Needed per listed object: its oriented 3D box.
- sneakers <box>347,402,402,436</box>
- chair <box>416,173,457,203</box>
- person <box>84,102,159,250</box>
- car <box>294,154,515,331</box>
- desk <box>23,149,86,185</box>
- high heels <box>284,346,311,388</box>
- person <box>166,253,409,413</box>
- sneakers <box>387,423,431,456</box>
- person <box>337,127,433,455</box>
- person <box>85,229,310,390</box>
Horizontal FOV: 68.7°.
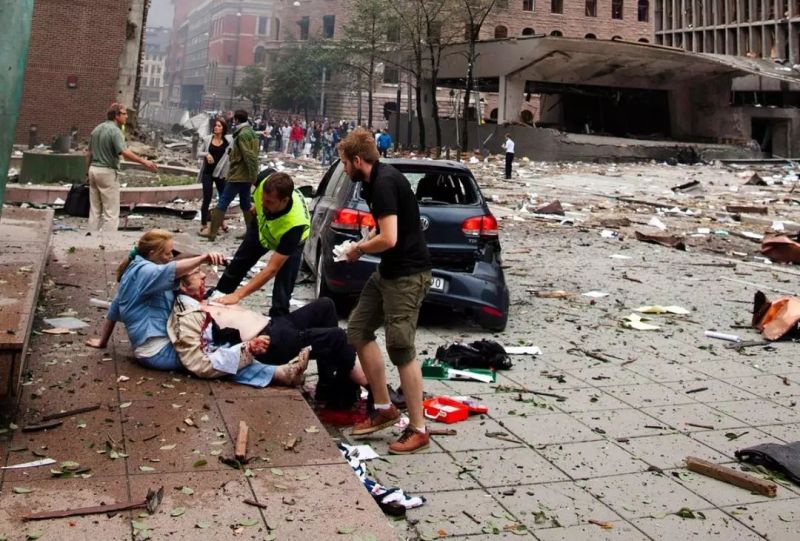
[{"bbox_3d":[-0.287,1.170,4.600,0.553,0.172,0.175,-12,4,-10],"label":"sneakers"},{"bbox_3d":[0.440,-1.017,7.227,0.616,0.197,0.316,4,7,2],"label":"chair"},{"bbox_3d":[-4.863,-1.660,9.788,0.936,2.175,0.515,1,17,-10],"label":"person"},{"bbox_3d":[-0.118,-0.600,7.778,1.927,1.069,3.003,0,13,-15],"label":"car"},{"bbox_3d":[-8.927,-2.506,15.094,1.471,0.647,1.304,4,7,28],"label":"desk"},{"bbox_3d":[-0.833,0.783,4.831,0.192,0.338,0.131,13,3,37],"label":"high heels"},{"bbox_3d":[-0.826,0.611,5.136,2.056,0.837,1.038,2,3,-1],"label":"person"},{"bbox_3d":[0.091,1.256,4.332,0.383,0.143,0.155,2,5,-34],"label":"sneakers"},{"bbox_3d":[-0.069,0.150,4.359,0.678,2.325,0.926,-2,18,-18],"label":"person"},{"bbox_3d":[-1.792,0.301,4.721,1.886,1.196,0.446,6,17,14],"label":"person"}]
